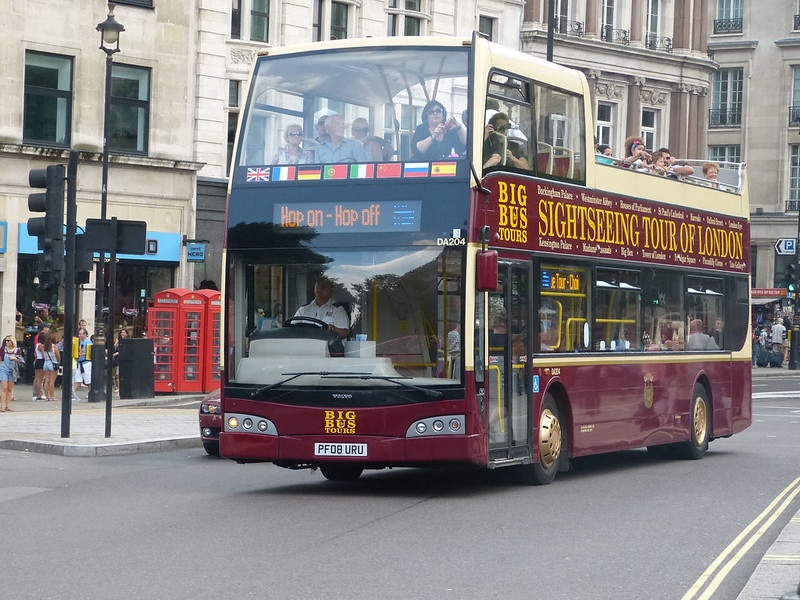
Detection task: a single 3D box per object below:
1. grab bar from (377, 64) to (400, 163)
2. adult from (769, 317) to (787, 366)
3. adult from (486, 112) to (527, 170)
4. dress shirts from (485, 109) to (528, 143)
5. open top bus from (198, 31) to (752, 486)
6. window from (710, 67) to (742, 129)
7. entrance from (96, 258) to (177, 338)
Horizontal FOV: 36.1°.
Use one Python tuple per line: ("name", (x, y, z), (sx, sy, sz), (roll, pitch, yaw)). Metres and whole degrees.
("grab bar", (-0.123, -2.418, 14.806), (0.390, 1.437, 0.062), (6, -15, -26))
("adult", (16.163, 1.850, 53.702), (0.678, 2.159, 0.653), (3, 1, 40))
("adult", (1.217, -1.874, 14.980), (0.511, 0.827, 0.380), (-8, 0, -14))
("dress shirts", (1.260, -2.086, 15.015), (0.294, 0.161, 0.432), (21, -8, 19))
("open top bus", (1.355, -0.294, 18.899), (3.444, 5.158, 10.667), (-2, -5, 34))
("window", (17.105, -10.793, 65.618), (1.744, 3.441, 0.126), (2, -18, 16))
("entrance", (-8.292, -0.168, 37.901), (2.157, 4.355, 2.059), (0, 2, 4))
